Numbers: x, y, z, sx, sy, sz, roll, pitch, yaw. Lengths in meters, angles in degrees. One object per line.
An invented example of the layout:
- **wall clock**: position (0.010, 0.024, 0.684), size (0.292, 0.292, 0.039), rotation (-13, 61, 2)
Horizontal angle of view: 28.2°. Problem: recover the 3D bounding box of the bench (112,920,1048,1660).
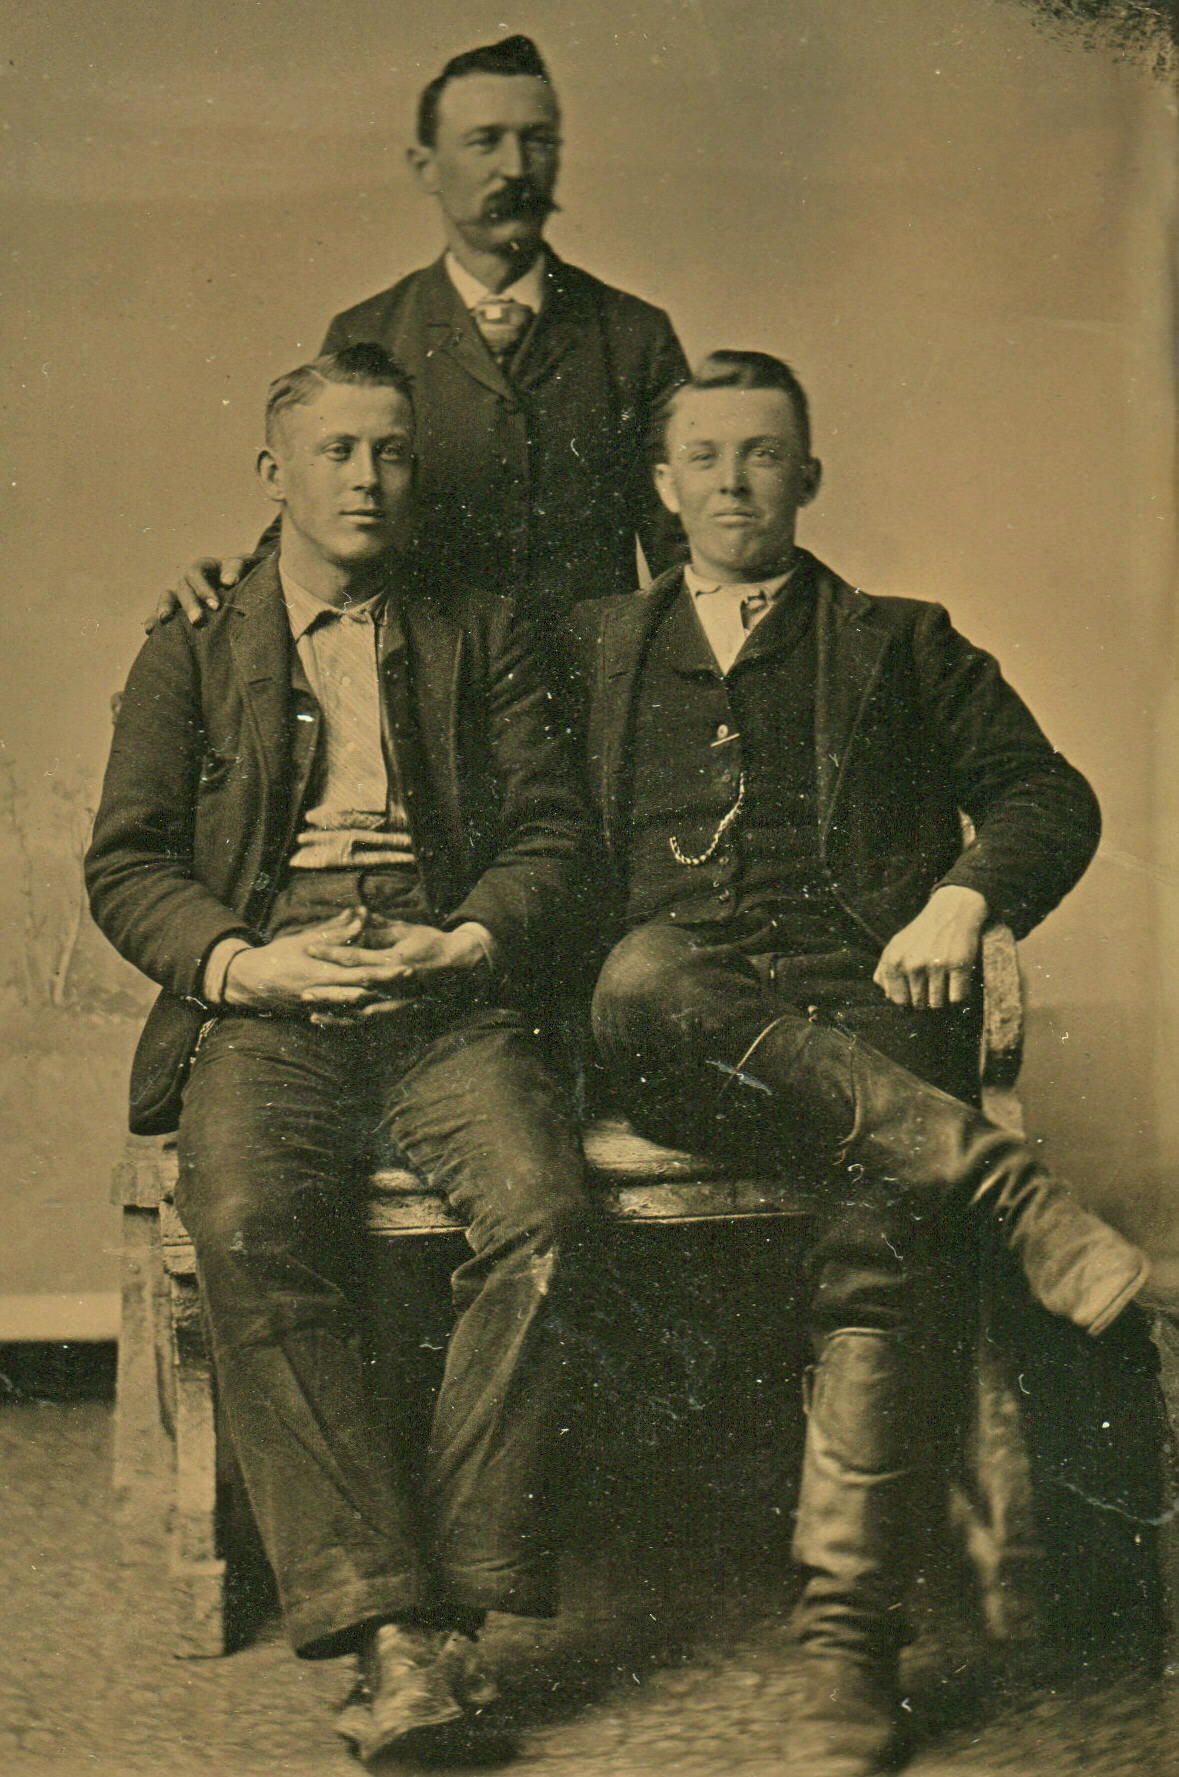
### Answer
- **bench**: position (-0.074, 0.582, 3.289), size (1.271, 0.866, 0.730), rotation (-1, -21, -9)
